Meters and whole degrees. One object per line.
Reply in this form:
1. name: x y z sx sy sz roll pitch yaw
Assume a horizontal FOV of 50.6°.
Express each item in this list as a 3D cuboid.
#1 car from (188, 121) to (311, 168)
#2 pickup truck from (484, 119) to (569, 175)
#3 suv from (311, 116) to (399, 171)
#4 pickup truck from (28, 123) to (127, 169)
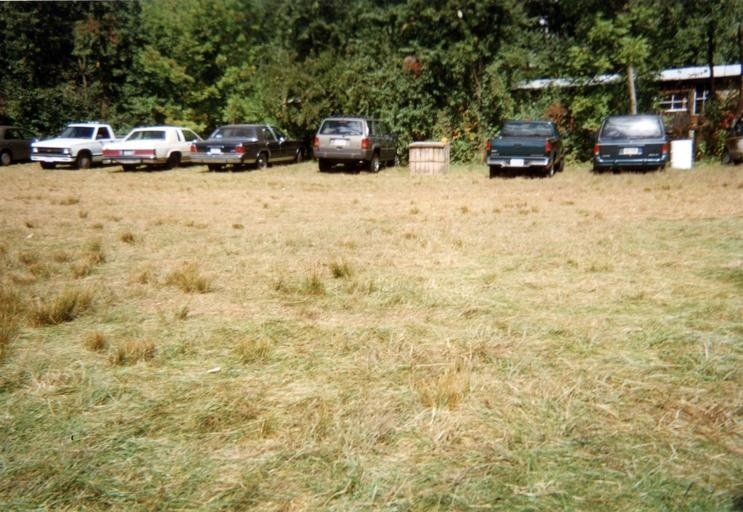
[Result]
1. car: -4.085 -3.656 26.193 1.546 1.565 4.456 6 16 25
2. pickup truck: 4.701 -3.162 23.231 1.236 1.091 2.798 4 22 21
3. suv: -0.361 -3.782 25.477 1.308 1.291 2.948 5 19 18
4. pickup truck: -10.084 -3.822 27.229 1.555 1.514 3.429 4 17 7
